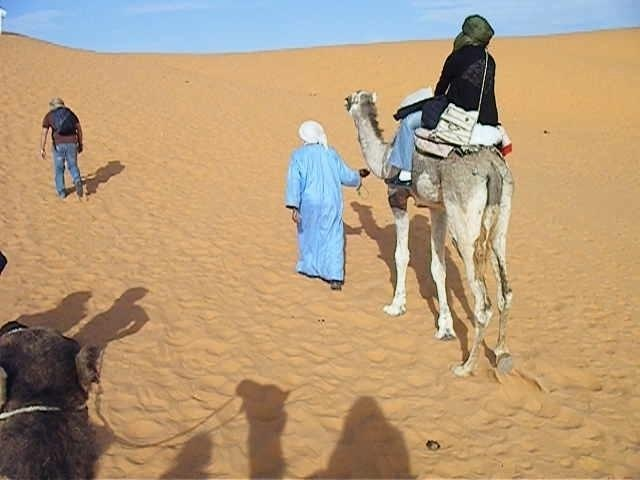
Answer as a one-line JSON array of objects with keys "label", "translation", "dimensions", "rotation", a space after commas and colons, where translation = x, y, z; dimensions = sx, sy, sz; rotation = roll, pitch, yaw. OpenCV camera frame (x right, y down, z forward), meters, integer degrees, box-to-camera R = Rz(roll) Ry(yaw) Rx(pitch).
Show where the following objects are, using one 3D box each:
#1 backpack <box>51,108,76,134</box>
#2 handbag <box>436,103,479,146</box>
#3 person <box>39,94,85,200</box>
[{"label": "backpack", "translation": [-5.337, -2.477, 17.101], "dimensions": [0.267, 0.542, 0.389], "rotation": [17, 24, 40]}, {"label": "handbag", "translation": [2.081, -1.735, 12.561], "dimensions": [0.585, 0.653, 0.535], "rotation": [9, 18, 10]}, {"label": "person", "translation": [-5.480, -2.003, 17.454], "dimensions": [0.786, 2.061, 0.682], "rotation": [-7, 12, -22]}]
